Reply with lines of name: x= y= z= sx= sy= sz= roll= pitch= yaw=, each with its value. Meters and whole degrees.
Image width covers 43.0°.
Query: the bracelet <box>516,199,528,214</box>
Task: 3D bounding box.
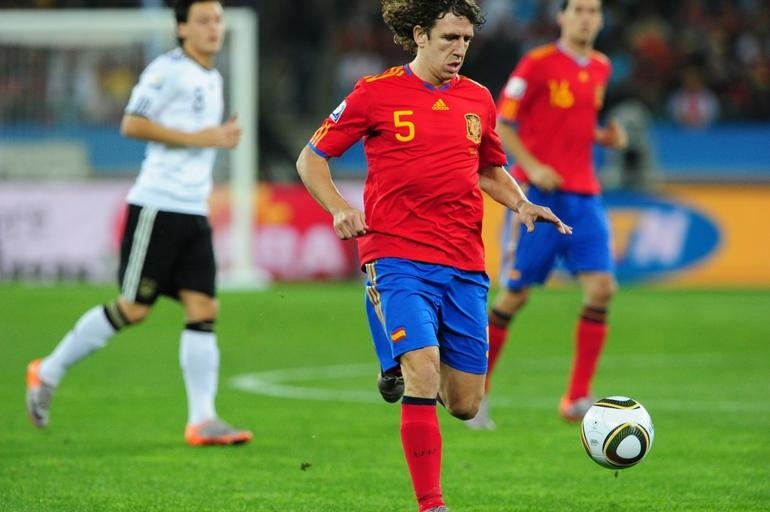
bracelet: x=0.921 y=-0.331 z=6.556 sx=0.059 sy=0.075 sz=0.079 roll=13 pitch=-18 yaw=-9

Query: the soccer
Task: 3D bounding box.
soccer: x=1.590 y=1.153 z=6.612 sx=0.441 sy=0.471 sz=0.448 roll=1 pitch=-2 yaw=15

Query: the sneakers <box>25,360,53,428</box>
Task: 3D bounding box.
sneakers: x=-2.555 y=1.038 z=7.351 sx=0.224 sy=0.473 sz=0.188 roll=2 pitch=4 yaw=17

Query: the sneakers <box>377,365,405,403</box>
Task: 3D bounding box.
sneakers: x=0.046 y=0.889 z=6.696 sx=0.178 sy=0.283 sz=0.280 roll=2 pitch=12 yaw=3

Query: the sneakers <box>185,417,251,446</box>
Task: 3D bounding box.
sneakers: x=-1.229 y=1.306 z=7.148 sx=0.363 sy=0.157 sz=0.215 roll=-5 pitch=-4 yaw=12
